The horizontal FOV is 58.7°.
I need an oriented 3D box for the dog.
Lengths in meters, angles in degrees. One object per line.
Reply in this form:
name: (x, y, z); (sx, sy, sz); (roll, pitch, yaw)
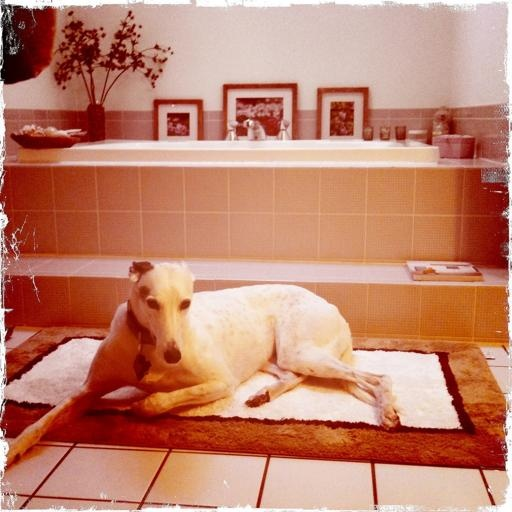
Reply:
dog: (-0.104, 0.281, 1.306); (0.556, 0.278, 0.731); (-2, -6, 26)

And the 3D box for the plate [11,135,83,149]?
plate: (-1.172, -0.626, 2.497); (0.169, 0.041, 0.152); (3, 9, 8)

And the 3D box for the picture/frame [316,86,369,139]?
picture/frame: (0.745, -1.178, 3.882); (0.459, 0.463, 0.028); (12, 22, 34)

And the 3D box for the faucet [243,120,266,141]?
faucet: (-0.003, -1.018, 3.709); (0.219, 0.217, 0.137); (0, 11, 3)

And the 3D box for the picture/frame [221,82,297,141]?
picture/frame: (0.042, -1.241, 3.866); (0.622, 0.518, 0.042); (0, 5, 2)

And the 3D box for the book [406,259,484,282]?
book: (0.872, 0.068, 2.090); (0.327, 0.049, 0.302); (2, 9, 13)

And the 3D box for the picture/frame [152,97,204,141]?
picture/frame: (-0.669, -1.217, 3.993); (0.463, 0.398, 0.033); (0, 6, 1)
